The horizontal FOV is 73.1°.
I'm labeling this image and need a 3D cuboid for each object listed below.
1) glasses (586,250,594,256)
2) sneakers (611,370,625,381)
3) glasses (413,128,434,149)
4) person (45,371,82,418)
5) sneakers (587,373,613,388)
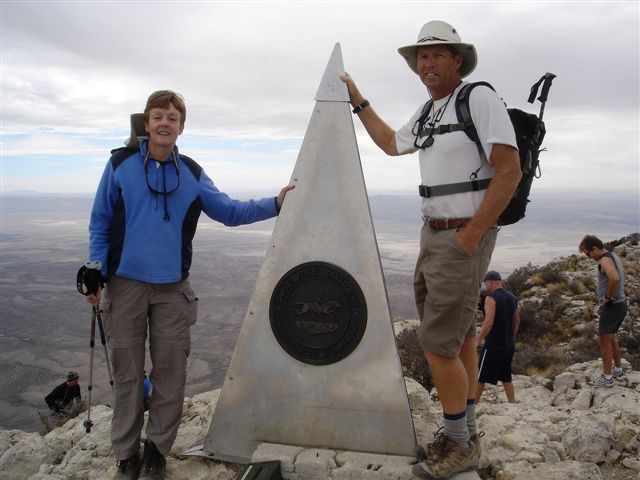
[{"bbox_3d":[4.556,0.188,7.287,0.023,0.096,0.067,5,3,-36],"label":"glasses"},{"bbox_3d":[4.565,2.011,6.581,0.094,0.115,0.243,-4,5,4],"label":"sneakers"},{"bbox_3d":[0.841,-0.807,3.467,0.112,0.156,0.061,8,-18,47],"label":"glasses"},{"bbox_3d":[-4.990,2.930,8.401,0.579,0.704,1.072,-1,12,-36],"label":"person"},{"bbox_3d":[4.271,2.099,6.570,0.395,0.183,0.146,-1,-1,9],"label":"sneakers"}]
